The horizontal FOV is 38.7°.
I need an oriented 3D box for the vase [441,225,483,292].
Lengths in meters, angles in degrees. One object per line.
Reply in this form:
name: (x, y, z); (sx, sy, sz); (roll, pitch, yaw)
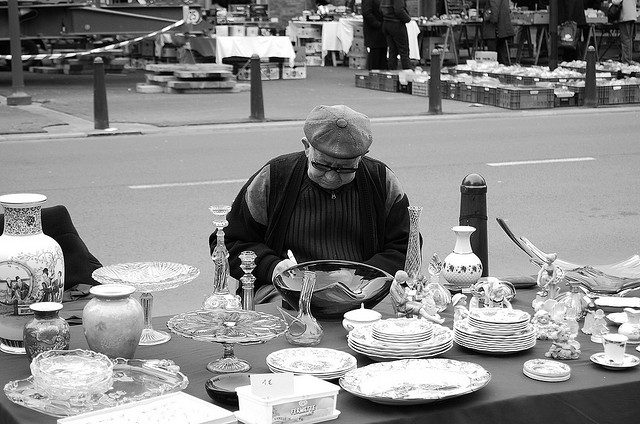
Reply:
vase: (0.836, 0.261, 5.406); (0.272, 0.383, 0.198); (4, -4, 3)

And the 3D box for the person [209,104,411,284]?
person: (-0.031, -0.075, 5.677); (1.172, 1.203, 0.742); (4, 24, 0)

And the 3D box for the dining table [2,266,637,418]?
dining table: (0.031, 0.515, 4.766); (3.169, 0.456, 1.663); (-2, 16, -9)

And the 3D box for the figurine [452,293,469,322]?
figurine: (0.748, 0.502, 4.929); (0.103, 0.177, 0.112); (-8, 2, 9)

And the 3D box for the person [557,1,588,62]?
person: (6.749, -4.971, 24.525); (0.886, 0.713, 2.640); (10, 37, 3)

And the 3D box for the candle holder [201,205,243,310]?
candle holder: (-0.510, 0.248, 4.737); (0.327, 0.541, 0.327); (-1, 2, -28)

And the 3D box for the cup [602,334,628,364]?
cup: (1.404, 0.643, 4.374); (0.110, 0.124, 0.116); (-2, -1, 0)

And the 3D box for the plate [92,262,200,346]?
plate: (-0.924, 0.375, 4.780); (0.427, 0.298, 0.440); (13, 18, 37)

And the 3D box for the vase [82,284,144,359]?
vase: (-0.992, 0.500, 4.443); (0.305, 0.389, 0.314); (3, 6, 33)

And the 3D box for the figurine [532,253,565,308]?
figurine: (1.254, 0.372, 5.034); (0.152, 0.278, 0.146); (7, 17, 13)

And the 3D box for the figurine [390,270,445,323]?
figurine: (0.535, 0.441, 4.849); (0.362, 0.296, 0.171); (-1, 11, -7)

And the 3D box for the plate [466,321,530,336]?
plate: (0.889, 0.572, 4.566); (0.300, 0.027, 0.114); (3, 16, 8)

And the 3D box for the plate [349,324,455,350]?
plate: (0.418, 0.624, 4.537); (0.493, 0.069, 0.498); (2, 8, 10)

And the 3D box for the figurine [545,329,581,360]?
figurine: (1.192, 0.618, 4.478); (0.175, 0.165, 0.122); (-1, 14, 4)

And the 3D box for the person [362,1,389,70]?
person: (1.330, -4.282, 22.798); (0.564, 0.512, 1.800); (-2, 52, 8)

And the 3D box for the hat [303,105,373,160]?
hat: (0.097, -0.448, 5.353); (0.383, 0.239, 0.278); (0, 15, -1)

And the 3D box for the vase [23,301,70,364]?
vase: (-1.355, 0.596, 4.487); (0.223, 0.304, 0.225); (0, 9, -23)

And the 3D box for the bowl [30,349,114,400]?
bowl: (-1.125, 0.718, 4.137); (0.254, 0.099, 0.238); (11, 6, -1)

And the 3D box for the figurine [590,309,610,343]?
figurine: (1.442, 0.546, 4.772); (0.133, 0.111, 0.194); (0, 27, 14)
